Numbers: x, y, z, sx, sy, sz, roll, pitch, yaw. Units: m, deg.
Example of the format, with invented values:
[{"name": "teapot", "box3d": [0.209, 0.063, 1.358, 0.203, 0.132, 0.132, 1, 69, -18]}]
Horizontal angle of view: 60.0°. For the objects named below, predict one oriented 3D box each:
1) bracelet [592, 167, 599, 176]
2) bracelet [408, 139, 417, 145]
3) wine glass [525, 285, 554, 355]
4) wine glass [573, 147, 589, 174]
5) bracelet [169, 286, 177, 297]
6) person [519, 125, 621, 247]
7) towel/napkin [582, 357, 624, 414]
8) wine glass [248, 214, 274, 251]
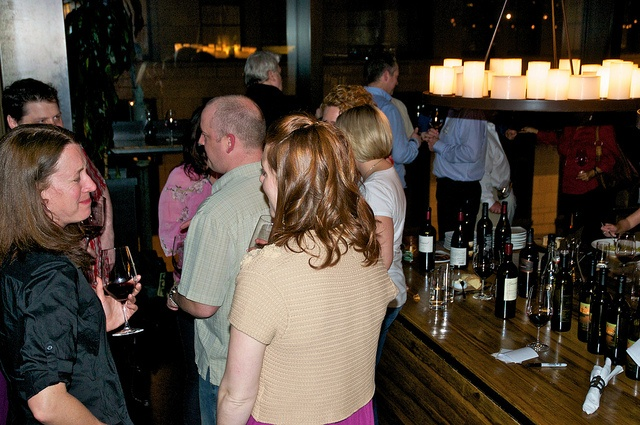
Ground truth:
[{"name": "bracelet", "box3d": [2.460, -0.365, 4.913, 0.052, 0.026, 0.074, 4, -16, 3]}, {"name": "bracelet", "box3d": [0.810, -0.612, 4.810, 0.044, 0.050, 0.050, -27, -41, 35]}, {"name": "wine glass", "box3d": [1.183, 0.540, 2.976, 0.127, 0.337, 0.337, 2, 7, 21]}, {"name": "wine glass", "box3d": [2.316, -0.466, 4.861, 0.104, 0.201, 0.333, 3, 7, 26]}, {"name": "bracelet", "box3d": [-0.748, 0.403, 2.846, 0.036, 0.018, 0.050, -2, 48, 36]}, {"name": "person", "box3d": [2.378, -0.302, 5.233, 0.484, 1.639, 0.837, -15, 20, -29]}, {"name": "towel/napkin", "box3d": [1.320, 0.792, 2.587, 0.144, 0.053, 0.283, 18, 46, 33]}, {"name": "wine glass", "box3d": [-0.256, 0.089, 2.408, 0.093, 0.158, 0.095, 31, -15, -19]}]
